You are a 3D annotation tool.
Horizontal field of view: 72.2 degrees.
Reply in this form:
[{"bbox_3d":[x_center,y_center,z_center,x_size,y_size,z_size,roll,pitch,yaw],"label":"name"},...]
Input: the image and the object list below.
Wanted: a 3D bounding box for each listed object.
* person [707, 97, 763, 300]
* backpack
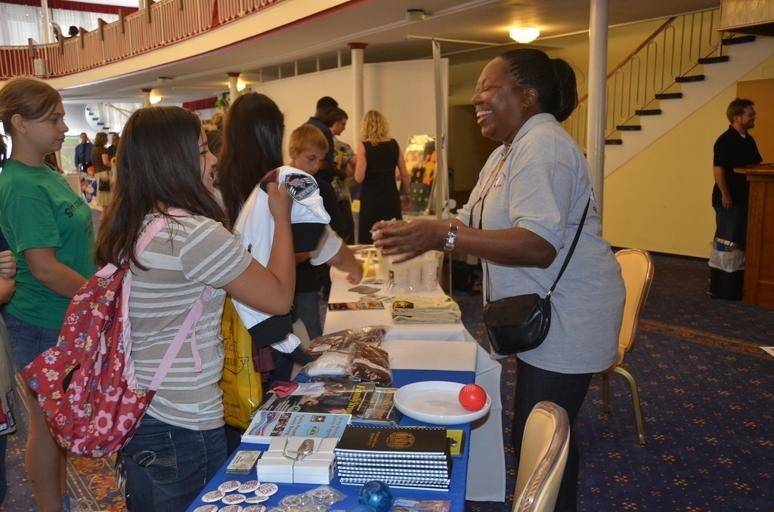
[{"bbox_3d":[3.902,-0.658,6.035,0.465,2.220,0.780,7,15,30],"label":"person"},{"bbox_3d":[-0.889,0.281,1.922,0.555,0.866,0.412,6,8,-33],"label":"backpack"}]
